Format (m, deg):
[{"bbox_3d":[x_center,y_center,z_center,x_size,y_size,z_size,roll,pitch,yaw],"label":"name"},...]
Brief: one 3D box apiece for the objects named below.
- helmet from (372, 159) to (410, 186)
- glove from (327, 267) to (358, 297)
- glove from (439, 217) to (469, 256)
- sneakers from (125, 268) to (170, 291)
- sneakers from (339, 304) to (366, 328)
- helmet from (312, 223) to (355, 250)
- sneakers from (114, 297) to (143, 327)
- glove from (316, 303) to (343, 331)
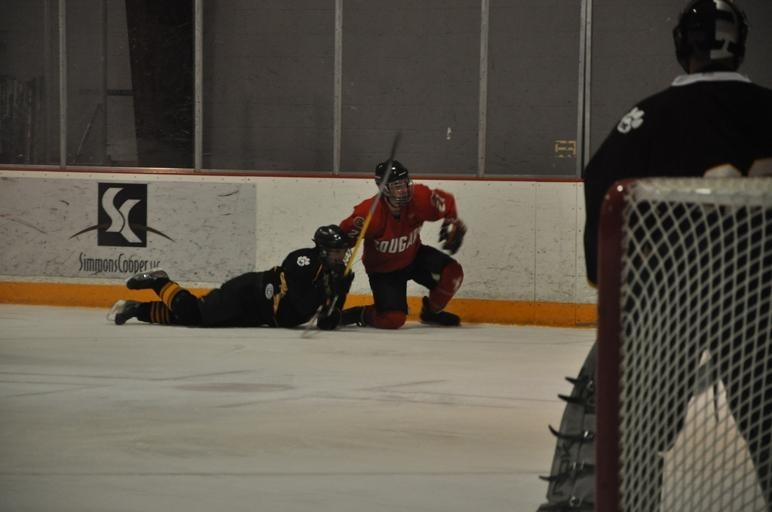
[{"bbox_3d":[0.052,-0.765,11.548,0.285,0.233,0.212,-11,27,21],"label":"helmet"},{"bbox_3d":[-0.393,0.233,11.320,0.187,0.222,0.242,2,-24,8],"label":"glove"},{"bbox_3d":[0.620,-0.165,11.424,0.276,0.336,0.091,-1,-2,7],"label":"glove"},{"bbox_3d":[-2.161,0.218,11.460,0.484,0.152,0.198,-2,-4,7],"label":"sneakers"},{"bbox_3d":[-0.290,0.540,11.316,0.223,0.105,0.161,-4,-2,22],"label":"sneakers"},{"bbox_3d":[-0.492,-0.173,11.324,0.256,0.202,0.232,-1,6,22],"label":"helmet"},{"bbox_3d":[-2.316,0.496,11.225,0.296,0.202,0.252,-1,5,-36],"label":"sneakers"},{"bbox_3d":[-0.506,0.559,11.203,0.251,0.172,0.233,-1,-37,0],"label":"glove"}]
